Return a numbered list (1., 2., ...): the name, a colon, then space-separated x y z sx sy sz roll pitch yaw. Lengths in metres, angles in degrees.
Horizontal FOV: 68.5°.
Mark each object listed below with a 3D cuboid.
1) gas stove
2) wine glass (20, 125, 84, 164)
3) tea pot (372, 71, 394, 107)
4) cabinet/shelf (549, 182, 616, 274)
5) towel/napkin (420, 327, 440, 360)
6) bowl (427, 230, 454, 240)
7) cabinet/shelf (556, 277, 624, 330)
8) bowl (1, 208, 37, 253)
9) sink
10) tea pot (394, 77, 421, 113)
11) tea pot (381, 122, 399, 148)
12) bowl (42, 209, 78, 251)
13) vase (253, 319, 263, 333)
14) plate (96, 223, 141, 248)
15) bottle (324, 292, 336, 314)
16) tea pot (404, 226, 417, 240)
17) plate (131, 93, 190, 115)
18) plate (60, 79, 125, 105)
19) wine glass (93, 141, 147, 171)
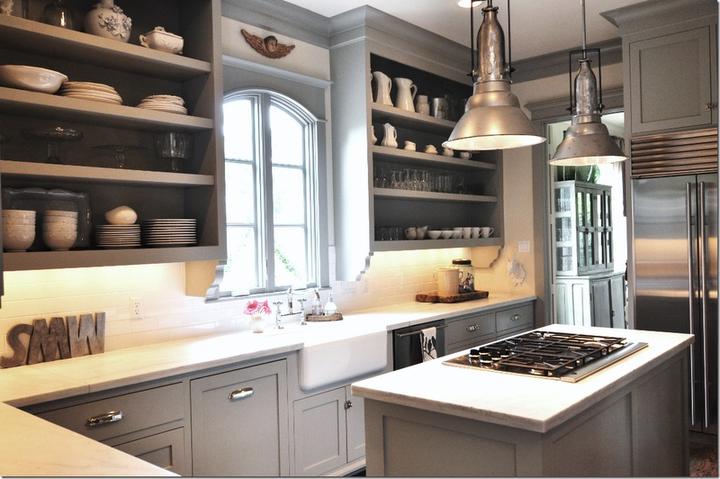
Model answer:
1. gas stove: 1.212 0.725 3.393 1.213 0.118 0.756 -1 0 -40
2. wine glass: -2.016 -0.628 3.469 0.303 0.176 0.286 2 4 30
3. tea pot: 0.233 -1.443 5.145 0.126 0.355 0.321 -1 -1 36
4. cabinet/shelf: 2.761 -0.126 6.634 0.402 1.140 1.313 -2 -4 34
5. towel/napkin: 0.643 0.947 4.832 0.065 0.205 0.257 -1 -1 35
6. bowl: 0.874 -0.049 5.686 0.193 0.058 0.138 -1 -3 27
7. cabinet/shelf: 2.698 0.753 6.280 0.308 0.678 0.808 -4 -4 37
8. bowl: -2.118 -0.052 3.418 0.268 0.272 0.263 -2 -7 0
9. sink: -0.145 0.941 4.165 0.616 0.385 0.264 -7 6 -32
10. tea pot: 0.484 -1.439 5.376 0.176 0.364 0.403 -1 -1 39
11. tea pot: 0.285 -1.032 5.248 0.139 0.307 0.290 -1 0 3
12. bowl: -1.942 -0.054 3.431 0.261 0.277 0.249 -1 -6 0
13. vase: -0.840 0.707 4.357 0.104 0.104 0.099 -1 2 -29
14. plate: -1.660 -0.020 3.635 0.208 0.110 0.197 0 -4 -25
15. bottle: -0.274 0.593 4.944 0.120 0.179 0.302 -1 0 -2
16. tea pot: 0.536 -0.069 5.409 0.121 0.108 0.107 4 -2 25
17. plate: -1.428 -0.938 3.782 0.218 0.068 0.209 0 3 21
18. plate: -1.775 -0.964 3.480 0.219 0.077 0.218 5 5 35
19. wine glass: -1.723 -0.615 3.771 0.224 0.104 0.303 0 3 45
